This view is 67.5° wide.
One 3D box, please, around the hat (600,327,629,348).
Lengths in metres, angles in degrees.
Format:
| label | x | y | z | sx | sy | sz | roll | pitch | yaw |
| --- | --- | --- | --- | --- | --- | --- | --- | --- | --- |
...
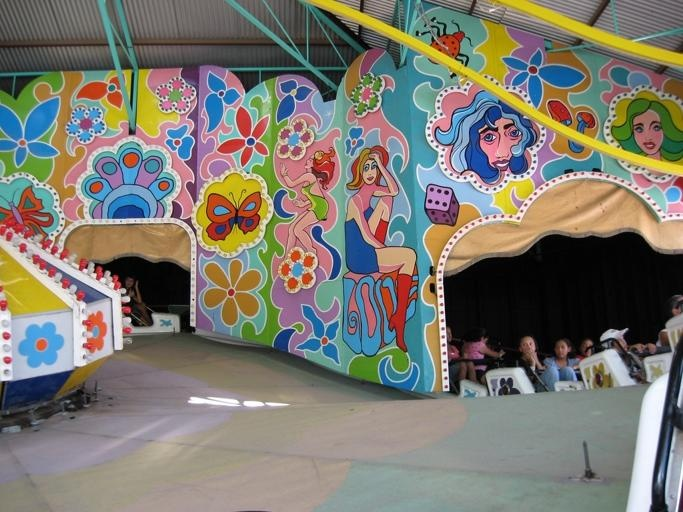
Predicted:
| label | x | y | z | sx | sy | sz | roll | pitch | yaw |
| --- | --- | --- | --- | --- | --- | --- | --- | --- | --- |
| hat | 3.519 | 1.053 | 6.627 | 0.280 | 0.229 | 0.777 | -3 | 1 | 27 |

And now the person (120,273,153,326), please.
| label | x | y | z | sx | sy | sz | roll | pitch | yaw |
| --- | --- | --- | --- | --- | --- | --- | --- | --- | --- |
| person | -3.950 | 0.894 | 10.044 | 0.422 | 1.022 | 1.300 | -3 | 0 | -22 |
